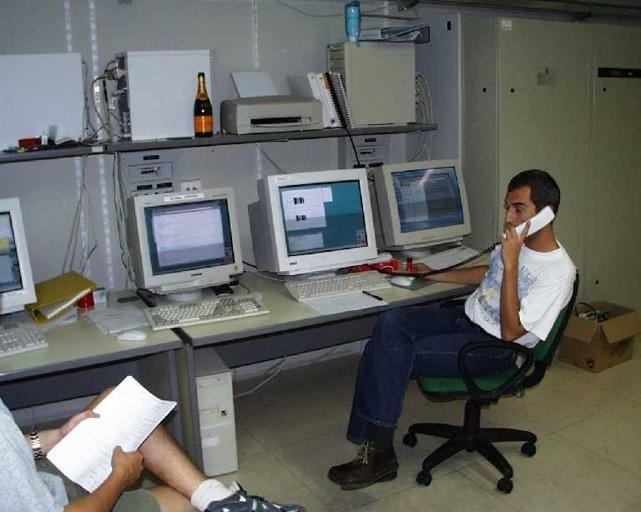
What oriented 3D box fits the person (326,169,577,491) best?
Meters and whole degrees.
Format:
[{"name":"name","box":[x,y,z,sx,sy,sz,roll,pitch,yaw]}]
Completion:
[{"name":"person","box":[0.727,0.260,3.178,1.542,1.960,1.127,0,10,-8]}]

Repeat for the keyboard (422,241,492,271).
[{"name":"keyboard","box":[0.789,0.027,3.067,0.206,0.038,0.345,-23,14,-42]}]

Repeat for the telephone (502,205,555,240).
[{"name":"telephone","box":[0.924,-0.142,2.290,0.165,0.069,0.122,-33,2,3]}]

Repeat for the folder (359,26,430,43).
[{"name":"folder","box":[0.449,-1.338,3.122,0.410,0.106,0.158,-1,15,4]}]

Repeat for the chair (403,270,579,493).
[{"name":"chair","box":[0.808,0.564,2.553,0.672,0.960,0.684,-1,7,5]}]

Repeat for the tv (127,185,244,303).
[{"name":"tv","box":[-0.688,-0.122,2.869,0.729,0.664,0.500,-9,8,-29]}]

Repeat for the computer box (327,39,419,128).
[{"name":"computer box","box":[0.461,-1.086,3.271,0.533,0.504,0.319,11,28,37]}]

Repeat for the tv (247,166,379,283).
[{"name":"tv","box":[-0.048,-0.200,3.113,0.786,0.690,0.563,-8,3,-26]}]

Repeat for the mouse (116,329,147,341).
[{"name":"mouse","box":[-0.798,0.328,2.193,0.093,0.025,0.052,4,7,0]}]
